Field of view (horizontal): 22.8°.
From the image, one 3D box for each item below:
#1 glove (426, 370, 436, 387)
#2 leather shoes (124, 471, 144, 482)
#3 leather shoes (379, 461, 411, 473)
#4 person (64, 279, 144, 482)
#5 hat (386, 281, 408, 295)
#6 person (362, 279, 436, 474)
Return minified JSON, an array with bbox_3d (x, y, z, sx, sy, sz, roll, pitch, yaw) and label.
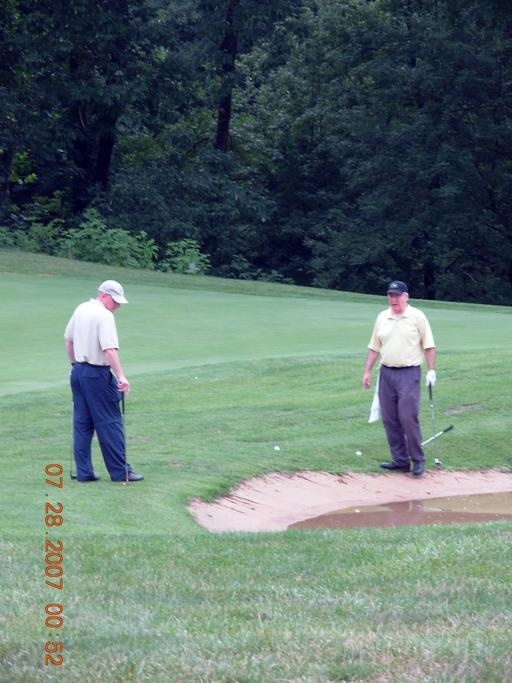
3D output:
[{"bbox_3d":[1.731,0.364,12.487,0.127,0.189,0.090,1,-6,2],"label":"glove"},{"bbox_3d":[-1.031,1.155,10.809,0.063,0.068,0.173,6,-3,35],"label":"leather shoes"},{"bbox_3d":[1.375,1.242,12.456,0.297,0.110,0.102,9,-3,5],"label":"leather shoes"},{"bbox_3d":[-1.274,0.363,10.599,0.692,1.712,0.475,10,12,34],"label":"person"},{"bbox_3d":[1.363,-0.535,12.157,0.190,0.123,0.258,1,-4,23],"label":"hat"},{"bbox_3d":[1.418,0.357,12.283,0.559,1.853,0.615,-2,11,-27],"label":"person"}]
